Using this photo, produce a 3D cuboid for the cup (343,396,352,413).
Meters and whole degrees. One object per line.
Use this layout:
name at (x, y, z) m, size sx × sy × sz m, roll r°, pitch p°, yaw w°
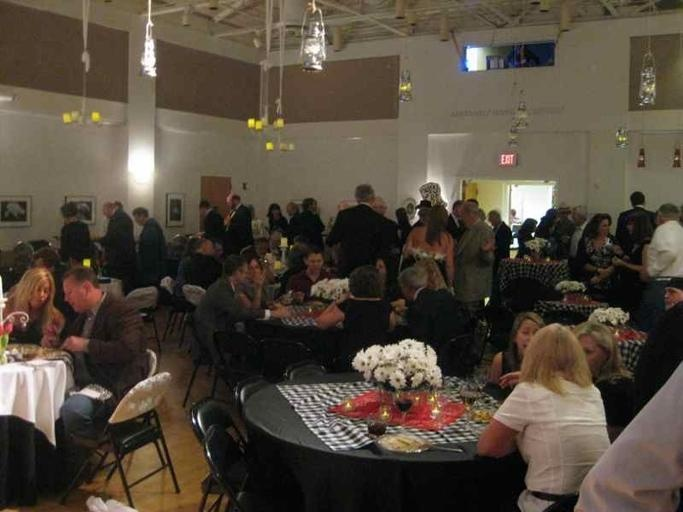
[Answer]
cup at (0.038, 0.852, 3.391) m, size 0.044 × 0.046 × 0.033 m, roll 0°, pitch 2°, yaw -26°
